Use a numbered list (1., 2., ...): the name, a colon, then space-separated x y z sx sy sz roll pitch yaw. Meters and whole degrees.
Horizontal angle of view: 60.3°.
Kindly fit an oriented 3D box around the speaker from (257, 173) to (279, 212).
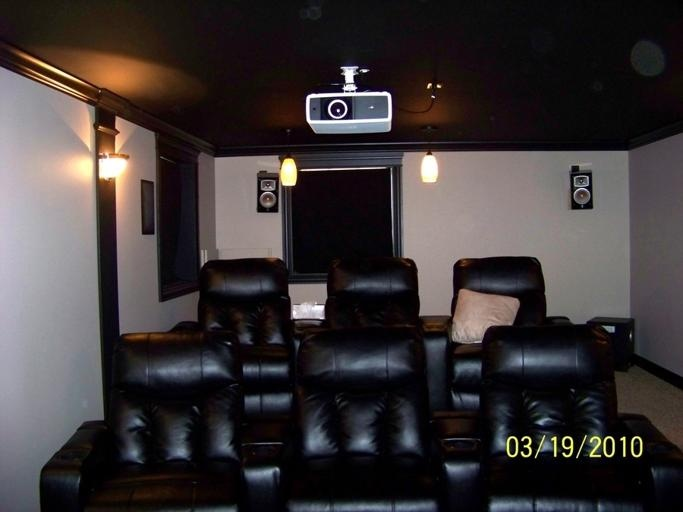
1. speaker: -0.864 -0.742 6.882 0.253 0.476 0.102 1 3 -9

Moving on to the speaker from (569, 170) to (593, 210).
1. speaker: 2.752 -0.779 6.713 0.286 0.496 0.143 2 3 9

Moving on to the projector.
1. projector: 0.055 -0.968 3.948 0.547 0.250 0.336 2 3 6
